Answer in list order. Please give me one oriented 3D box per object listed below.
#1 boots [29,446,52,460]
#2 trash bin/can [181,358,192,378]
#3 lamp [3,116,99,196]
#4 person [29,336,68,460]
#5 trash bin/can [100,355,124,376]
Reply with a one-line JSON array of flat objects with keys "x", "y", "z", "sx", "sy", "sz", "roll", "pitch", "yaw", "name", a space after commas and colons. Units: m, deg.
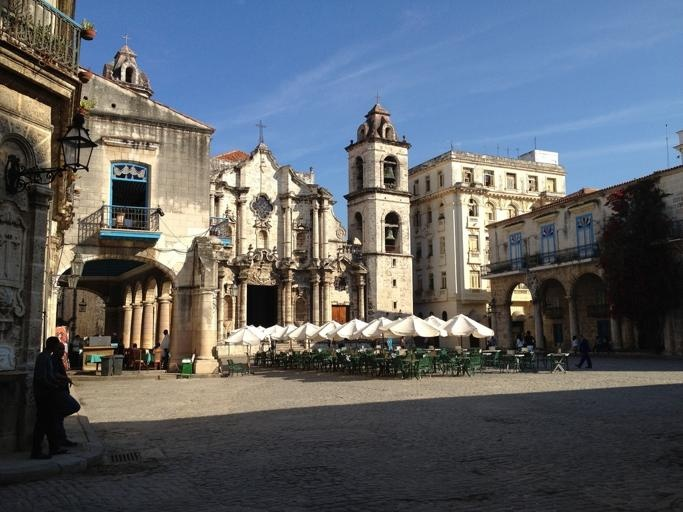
[{"x": -5.056, "y": 3.306, "z": 11.922, "sx": 0.339, "sy": 0.185, "sz": 0.332, "roll": 3, "pitch": -11, "yaw": -29, "name": "boots"}, {"x": -6.175, "y": 4.434, "z": 28.132, "sx": 0.718, "sy": 0.807, "sz": 0.548, "roll": 4, "pitch": -14, "yaw": -18, "name": "trash bin/can"}, {"x": -5.364, "y": -1.949, "z": 13.045, "sx": 1.485, "sy": 1.691, "sz": 0.781, "roll": 0, "pitch": -10, "yaw": -12, "name": "lamp"}, {"x": -5.081, "y": 2.408, "z": 12.279, "sx": 0.529, "sy": 2.042, "sz": 0.734, "roll": 0, "pitch": -10, "yaw": -14, "name": "person"}, {"x": -9.095, "y": 4.363, "z": 28.342, "sx": 0.690, "sy": 1.043, "sz": 1.133, "roll": -7, "pitch": -12, "yaw": 23, "name": "trash bin/can"}]
